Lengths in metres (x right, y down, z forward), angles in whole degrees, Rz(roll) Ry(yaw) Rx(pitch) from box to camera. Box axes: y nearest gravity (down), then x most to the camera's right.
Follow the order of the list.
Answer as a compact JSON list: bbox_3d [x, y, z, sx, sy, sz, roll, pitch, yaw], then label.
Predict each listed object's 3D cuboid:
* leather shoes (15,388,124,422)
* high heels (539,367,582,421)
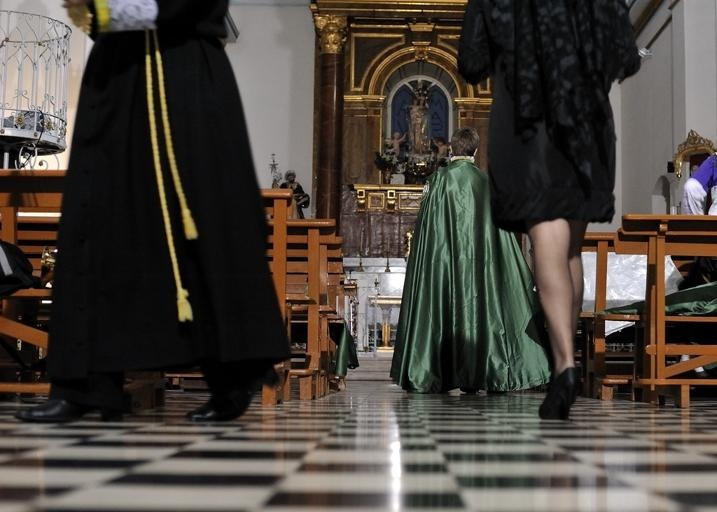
[{"bbox_3d":[-0.985,0.506,4.412,0.398,0.160,0.133,3,-7,-16],"label":"leather shoes"},{"bbox_3d":[0.726,0.482,4.539,0.094,0.096,0.244,3,-28,-1],"label":"high heels"}]
